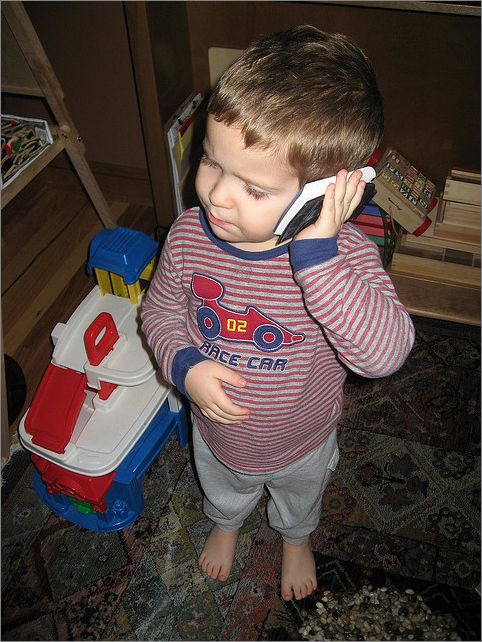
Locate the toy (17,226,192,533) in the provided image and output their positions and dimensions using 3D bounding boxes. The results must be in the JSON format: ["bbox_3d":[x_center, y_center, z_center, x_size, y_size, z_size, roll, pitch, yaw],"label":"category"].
[{"bbox_3d":[-0.209,0.059,1.380,0.393,0.486,0.849,23,55,-7],"label":"toy"}]
